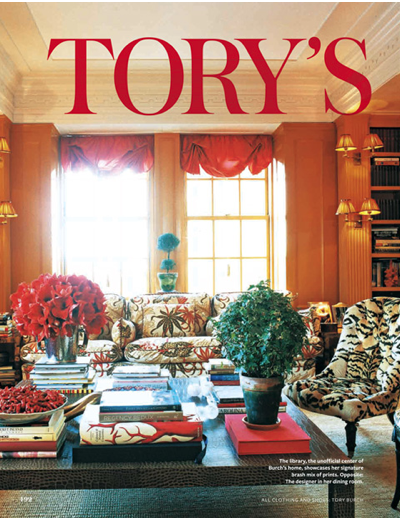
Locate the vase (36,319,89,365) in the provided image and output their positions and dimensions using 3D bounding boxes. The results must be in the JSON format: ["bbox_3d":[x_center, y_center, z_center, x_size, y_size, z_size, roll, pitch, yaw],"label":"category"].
[{"bbox_3d":[-0.590,0.367,1.960,0.192,0.162,0.146,-1,-11,-15],"label":"vase"}]

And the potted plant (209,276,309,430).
[{"bbox_3d":[0.238,0.325,1.494,0.332,0.439,0.348,-7,-19,34],"label":"potted plant"}]

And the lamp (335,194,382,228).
[{"bbox_3d":[1.691,-0.501,4.769,0.451,0.347,0.498,5,14,19],"label":"lamp"}]

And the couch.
[{"bbox_3d":[-0.232,0.703,3.818,2.342,0.793,0.706,-2,-7,-5],"label":"couch"}]

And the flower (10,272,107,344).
[{"bbox_3d":[-0.574,0.190,1.932,0.335,0.210,0.322,1,1,10],"label":"flower"}]

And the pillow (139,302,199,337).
[{"bbox_3d":[-0.266,0.567,3.966,0.486,0.167,0.637,0,24,-5],"label":"pillow"}]
